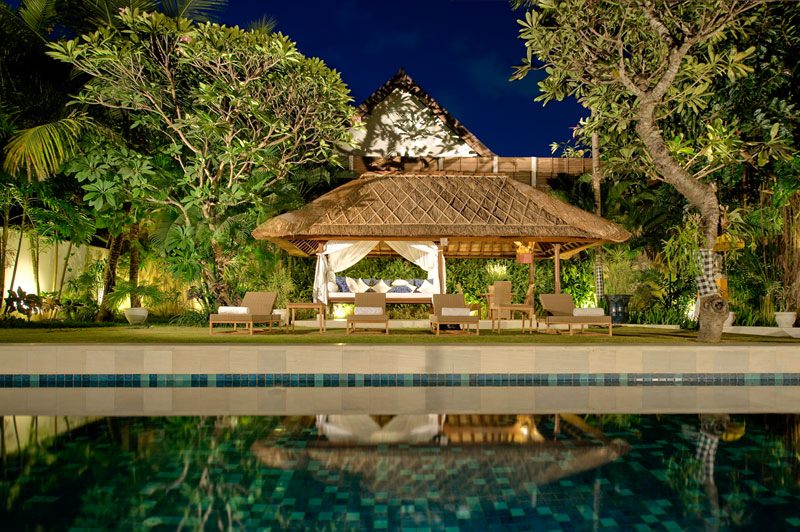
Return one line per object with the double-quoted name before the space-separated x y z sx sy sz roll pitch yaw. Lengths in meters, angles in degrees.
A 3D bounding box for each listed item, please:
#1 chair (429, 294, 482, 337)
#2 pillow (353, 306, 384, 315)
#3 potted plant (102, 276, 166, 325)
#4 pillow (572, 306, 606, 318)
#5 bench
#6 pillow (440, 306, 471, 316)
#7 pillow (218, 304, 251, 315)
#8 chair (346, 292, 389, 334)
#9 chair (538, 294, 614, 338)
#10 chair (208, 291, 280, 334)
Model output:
"chair" 1.222 1.082 16.040 0.985 0.872 1.322 0 -3 1
"pillow" -0.695 0.983 15.717 0.613 0.203 0.684 -1 -3 -1
"potted plant" -6.742 0.929 18.089 1.395 1.088 1.235 -4 -4 34
"pillow" 4.190 1.024 15.764 0.621 0.190 1.057 -2 -4 13
"bench" -0.524 0.875 19.628 2.977 1.162 1.079 0 -3 -1
"pillow" 1.249 1.015 15.697 0.638 0.198 0.340 -2 -3 5
"pillow" -3.680 0.975 15.731 0.632 0.192 1.106 -1 -4 -13
"chair" -0.725 1.090 15.800 0.868 0.846 1.219 1 6 5
"chair" 3.951 1.083 16.297 1.435 0.925 2.225 -2 -3 10
"chair" -3.412 1.013 15.713 0.917 0.845 1.369 -2 -6 16
